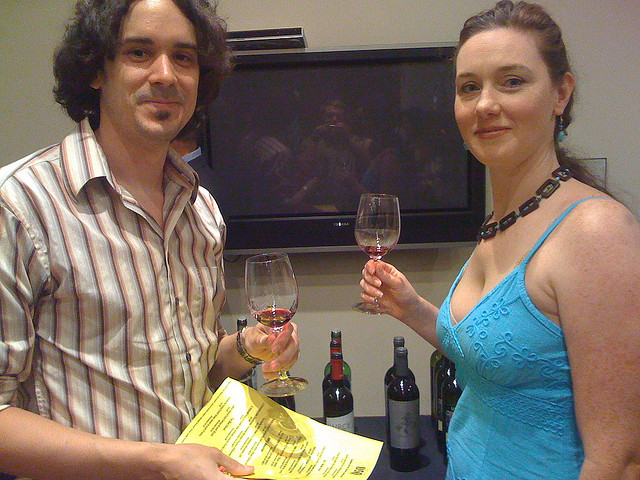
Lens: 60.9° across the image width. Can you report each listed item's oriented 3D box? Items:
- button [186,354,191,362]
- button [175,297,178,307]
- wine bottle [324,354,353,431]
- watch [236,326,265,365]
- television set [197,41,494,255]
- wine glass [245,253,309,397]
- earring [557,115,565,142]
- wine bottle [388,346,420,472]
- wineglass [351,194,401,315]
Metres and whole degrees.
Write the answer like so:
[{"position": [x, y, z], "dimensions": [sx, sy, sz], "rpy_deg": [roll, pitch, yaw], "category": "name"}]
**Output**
[{"position": [-0.373, 0.333, 1.547], "dimensions": [0.012, 0.015, 0.004], "rpy_deg": [8, -32, -33], "category": "button"}, {"position": [-0.409, 0.176, 1.557], "dimensions": [0.005, 0.027, 0.011], "rpy_deg": [2, 0, 14], "category": "button"}, {"position": [0.065, 0.514, 1.895], "dimensions": [0.101, 0.259, 0.161], "rpy_deg": [2, 0, 1], "category": "wine bottle"}, {"position": [-0.235, 0.319, 1.689], "dimensions": [0.031, 0.103, 0.102], "rpy_deg": [-20, 49, -32], "category": "watch"}, {"position": [0.116, -0.439, 2.393], "dimensions": [1.033, 0.687, 0.108], "rpy_deg": [0, 3, 1], "category": "television set"}, {"position": [-0.122, 0.236, 1.551], "dimensions": [0.179, 0.395, 0.237], "rpy_deg": [2, 0, -2], "category": "wine glass"}, {"position": [0.638, -0.297, 1.450], "dimensions": [0.014, 0.066, 0.035], "rpy_deg": [2, 0, 24], "category": "earring"}, {"position": [0.298, 0.593, 1.924], "dimensions": [0.114, 0.425, 0.171], "rpy_deg": [2, 0, 11], "category": "wine bottle"}, {"position": [0.193, 0.046, 1.887], "dimensions": [0.151, 0.400, 0.215], "rpy_deg": [2, 0, 4], "category": "wineglass"}]
